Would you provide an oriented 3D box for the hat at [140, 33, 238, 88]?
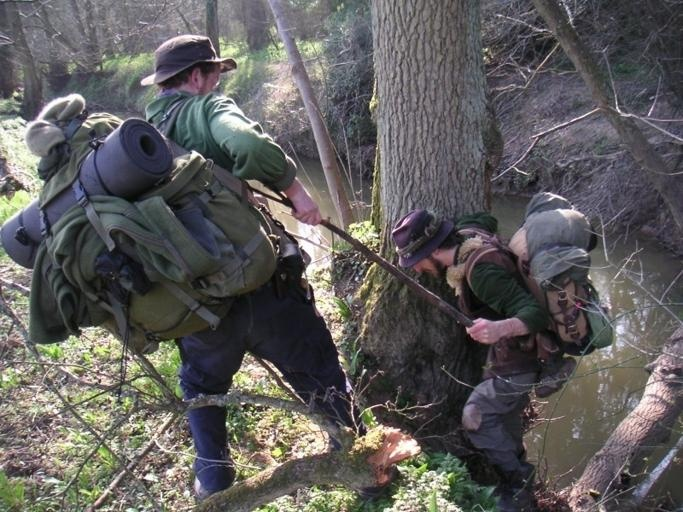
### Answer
[{"bbox_3d":[-1.375,-1.832,6.185,0.668,0.293,0.564,-32,33,-22],"label":"hat"}]

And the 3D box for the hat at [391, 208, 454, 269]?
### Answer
[{"bbox_3d":[0.834,-0.122,6.565,0.529,0.294,0.554,-18,44,41],"label":"hat"}]
